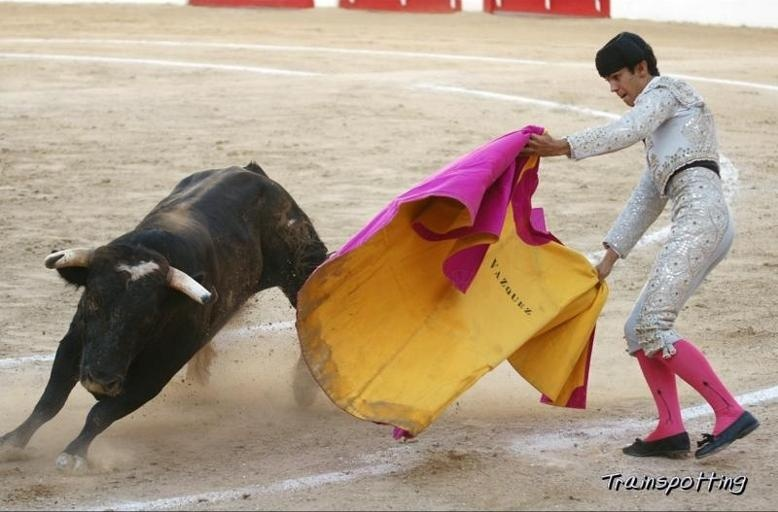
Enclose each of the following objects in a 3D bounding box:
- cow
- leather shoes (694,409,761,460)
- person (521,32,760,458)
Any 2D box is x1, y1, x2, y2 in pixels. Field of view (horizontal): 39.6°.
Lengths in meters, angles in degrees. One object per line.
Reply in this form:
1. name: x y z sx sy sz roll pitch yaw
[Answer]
1. cow: -1.353 0.318 6.942 0.842 1.652 1.852 11 15 22
2. leather shoes: 1.948 1.045 6.285 0.329 0.342 0.175 3 15 -2
3. person: 1.365 -0.111 6.588 1.786 2.632 1.129 9 -18 -16
